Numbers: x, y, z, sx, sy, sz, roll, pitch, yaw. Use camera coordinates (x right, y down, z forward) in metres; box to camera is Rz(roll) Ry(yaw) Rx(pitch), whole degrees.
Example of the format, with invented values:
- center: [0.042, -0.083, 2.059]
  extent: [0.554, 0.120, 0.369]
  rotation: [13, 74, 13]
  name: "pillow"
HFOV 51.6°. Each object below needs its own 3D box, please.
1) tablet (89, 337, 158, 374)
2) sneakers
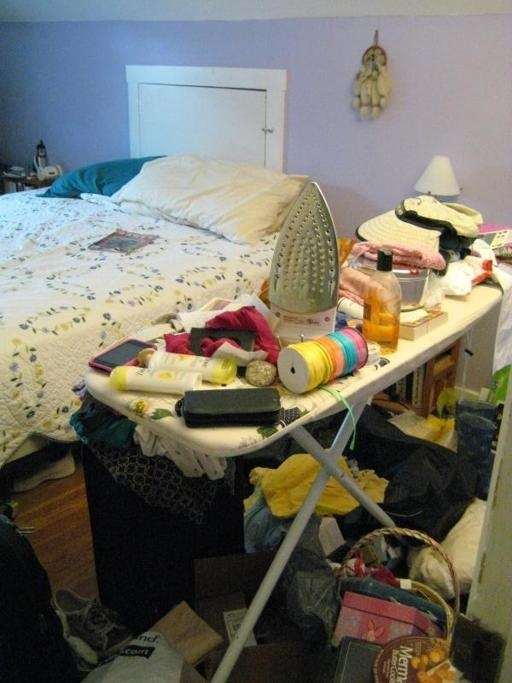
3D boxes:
- center: [-0.238, 0.015, 0.959]
  extent: [0.097, 0.031, 0.162]
  rotation: [2, 21, 9]
  name: "tablet"
- center: [-0.347, 0.551, 1.104]
  extent: [0.179, 0.067, 0.097]
  rotation: [27, 23, 36]
  name: "sneakers"
